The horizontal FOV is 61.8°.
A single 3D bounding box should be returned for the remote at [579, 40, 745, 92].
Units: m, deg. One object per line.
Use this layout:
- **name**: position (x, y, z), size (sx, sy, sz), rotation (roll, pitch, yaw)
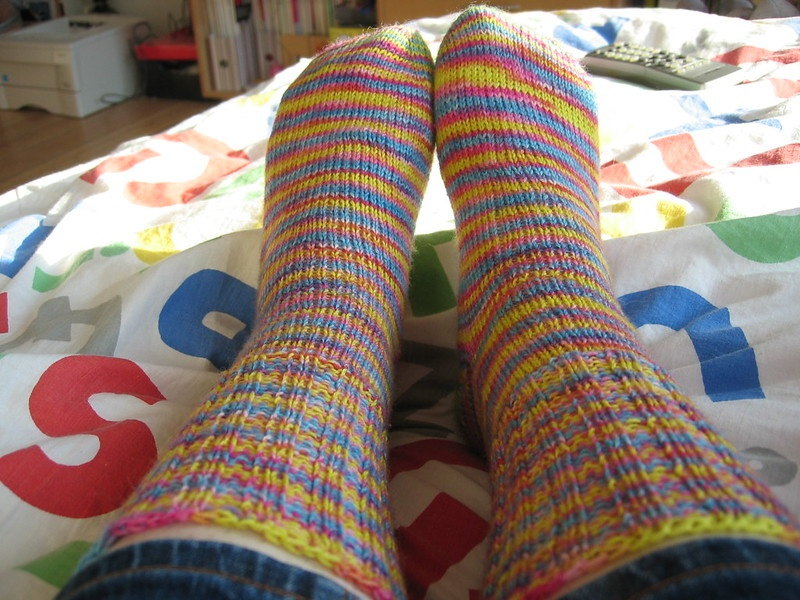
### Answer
- **remote**: position (0.454, -0.410, 1.182), size (0.251, 0.040, 0.121), rotation (19, 39, 33)
